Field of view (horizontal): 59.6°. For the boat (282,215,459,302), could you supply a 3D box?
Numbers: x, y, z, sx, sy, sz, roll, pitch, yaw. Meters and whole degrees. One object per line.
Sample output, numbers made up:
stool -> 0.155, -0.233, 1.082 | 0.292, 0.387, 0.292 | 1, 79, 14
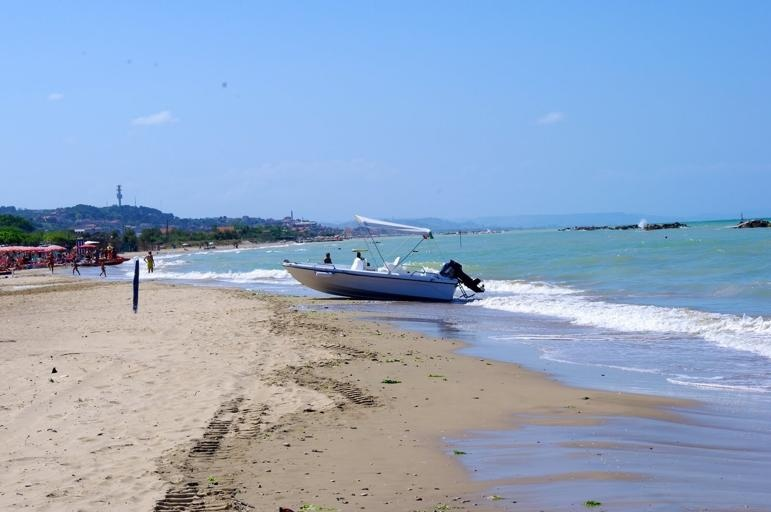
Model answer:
boat -> -0.368, 0.200, 28.402 | 6.847, 3.561, 1.955 | -1, 3, 4
